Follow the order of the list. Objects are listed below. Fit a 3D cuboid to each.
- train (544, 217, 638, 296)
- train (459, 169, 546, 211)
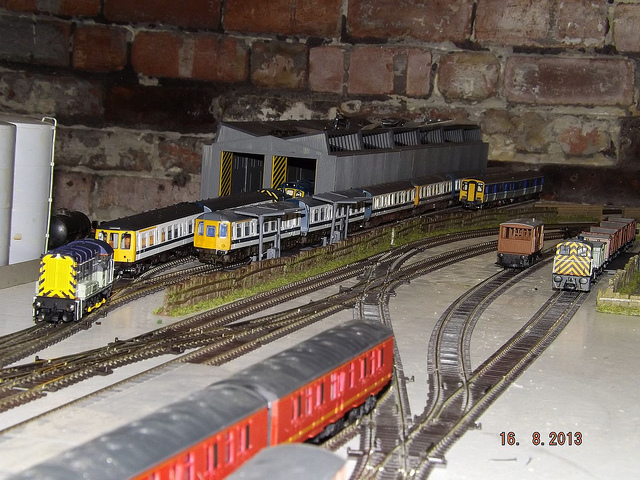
[{"bbox_3d":[16.358,1.091,36.783,5.604,3.938,6.049,5,9,28],"label":"train"},{"bbox_3d":[17.722,-4.853,55.927,2.917,3.148,13.860,10,14,41],"label":"train"}]
